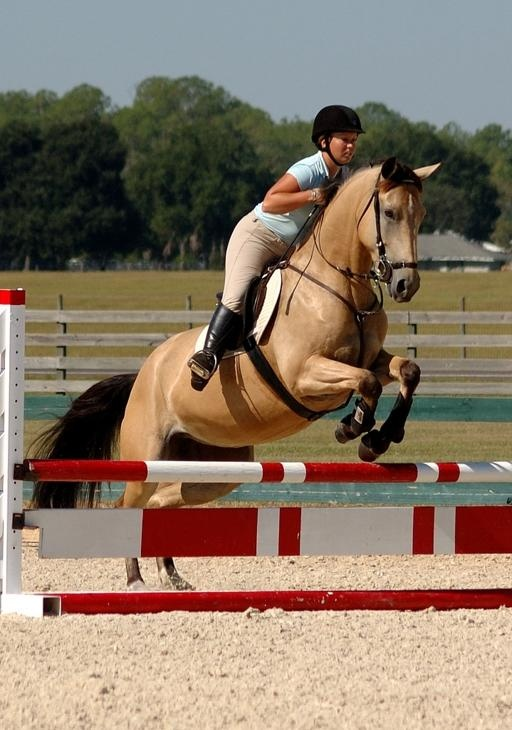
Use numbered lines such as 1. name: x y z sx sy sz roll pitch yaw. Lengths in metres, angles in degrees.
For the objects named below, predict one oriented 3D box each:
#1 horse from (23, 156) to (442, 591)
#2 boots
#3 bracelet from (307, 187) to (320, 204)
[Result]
1. horse: -0.132 0.195 4.663 2.120 1.439 0.454 -17 -13 37
2. boots: -0.169 -0.045 4.393 0.106 0.128 0.420 22 -44 -17
3. bracelet: 0.197 -0.589 4.302 0.022 0.044 0.075 1 12 -4
